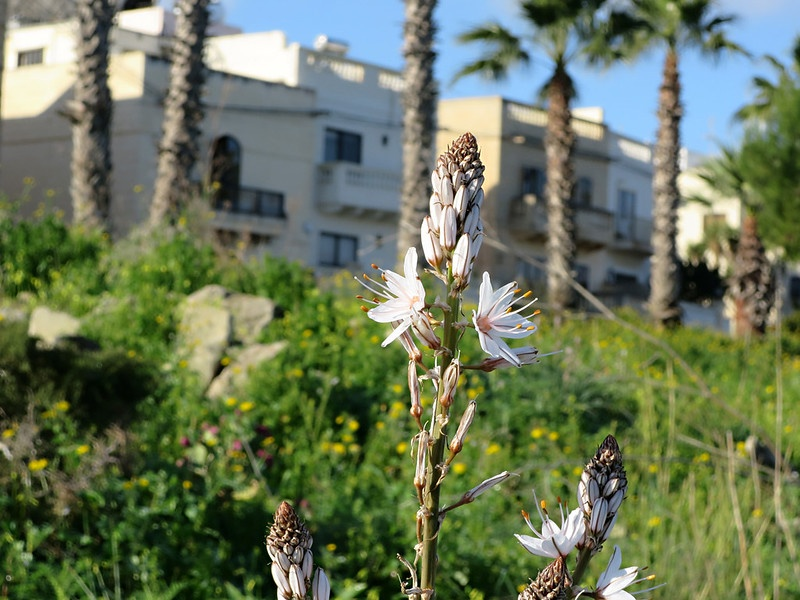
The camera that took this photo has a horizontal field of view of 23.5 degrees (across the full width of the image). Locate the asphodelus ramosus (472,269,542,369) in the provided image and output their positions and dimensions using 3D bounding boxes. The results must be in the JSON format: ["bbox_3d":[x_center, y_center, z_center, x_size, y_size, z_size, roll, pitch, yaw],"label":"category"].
[{"bbox_3d":[0.768,0.171,14.202,0.468,0.674,0.297,3,-7,4],"label":"asphodelus ramosus"}]

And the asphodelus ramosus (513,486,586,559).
[{"bbox_3d":[1.151,1.707,14.281,0.400,0.402,0.417,-36,4,10],"label":"asphodelus ramosus"}]

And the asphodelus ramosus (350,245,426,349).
[{"bbox_3d":[-0.042,0.009,14.223,0.430,0.739,0.360,4,-7,-3],"label":"asphodelus ramosus"}]
